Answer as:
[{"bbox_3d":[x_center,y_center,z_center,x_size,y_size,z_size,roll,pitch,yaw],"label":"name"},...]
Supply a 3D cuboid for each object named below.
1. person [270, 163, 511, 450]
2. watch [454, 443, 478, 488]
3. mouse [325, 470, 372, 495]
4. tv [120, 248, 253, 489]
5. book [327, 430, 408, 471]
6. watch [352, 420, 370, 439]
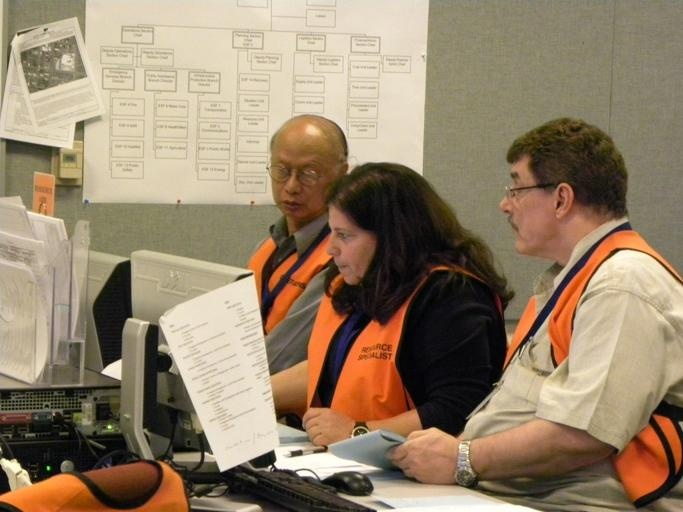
[{"bbox_3d":[0.247,0.295,2.823,0.790,1.261,0.752,11,-16,-12],"label":"person"},{"bbox_3d":[0.325,0.557,1.952,0.059,0.107,0.098,1,10,5],"label":"watch"},{"bbox_3d":[0.025,0.543,1.800,0.088,0.031,0.056,3,-1,37],"label":"mouse"},{"bbox_3d":[-0.372,0.292,1.779,0.200,0.554,0.525,-4,4,-29],"label":"tv"},{"bbox_3d":[0.079,0.495,1.890,0.140,0.035,0.137,31,-38,-32],"label":"book"},{"bbox_3d":[0.054,0.502,2.135,0.038,0.061,0.054,10,-31,-5],"label":"watch"}]
